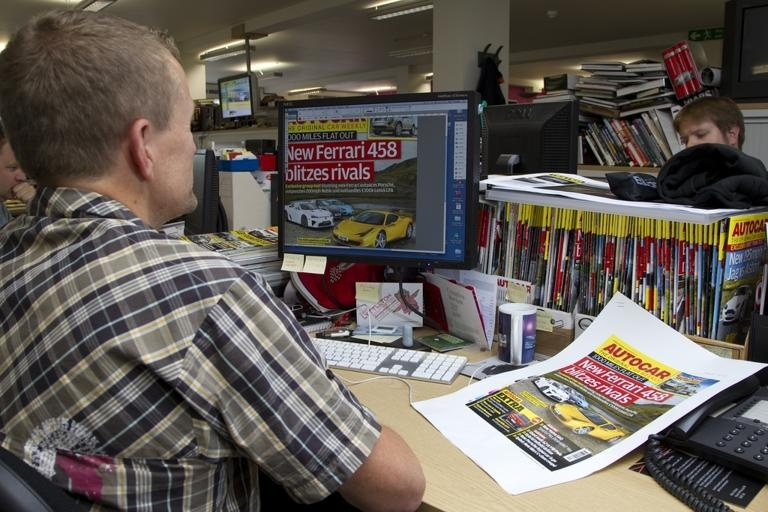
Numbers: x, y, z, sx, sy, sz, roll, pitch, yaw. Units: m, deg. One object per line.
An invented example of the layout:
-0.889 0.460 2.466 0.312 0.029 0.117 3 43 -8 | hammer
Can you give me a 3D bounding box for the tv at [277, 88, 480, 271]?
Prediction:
-0.004 -0.214 1.446 0.652 0.403 0.066 0 6 18 | tv
